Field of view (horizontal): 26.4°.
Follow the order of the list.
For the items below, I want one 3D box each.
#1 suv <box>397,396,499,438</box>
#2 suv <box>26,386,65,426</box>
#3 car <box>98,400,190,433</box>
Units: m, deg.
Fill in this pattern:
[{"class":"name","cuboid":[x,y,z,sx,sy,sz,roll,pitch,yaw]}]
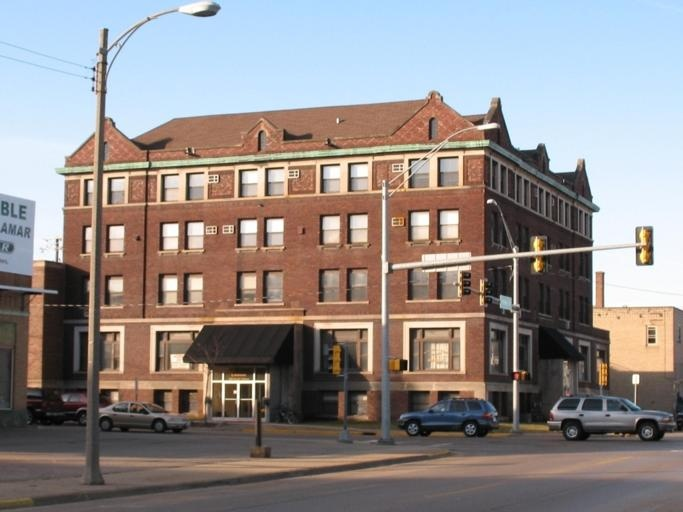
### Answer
[{"class":"suv","cuboid":[5.756,8.942,78.909,5.394,2.020,2.384,-1,-6,20]},{"class":"suv","cuboid":[-17.015,8.704,83.423,2.427,1.194,1.413,0,-4,33]},{"class":"car","cuboid":[-10.881,8.863,78.720,4.131,1.323,1.982,-4,-6,21]}]
